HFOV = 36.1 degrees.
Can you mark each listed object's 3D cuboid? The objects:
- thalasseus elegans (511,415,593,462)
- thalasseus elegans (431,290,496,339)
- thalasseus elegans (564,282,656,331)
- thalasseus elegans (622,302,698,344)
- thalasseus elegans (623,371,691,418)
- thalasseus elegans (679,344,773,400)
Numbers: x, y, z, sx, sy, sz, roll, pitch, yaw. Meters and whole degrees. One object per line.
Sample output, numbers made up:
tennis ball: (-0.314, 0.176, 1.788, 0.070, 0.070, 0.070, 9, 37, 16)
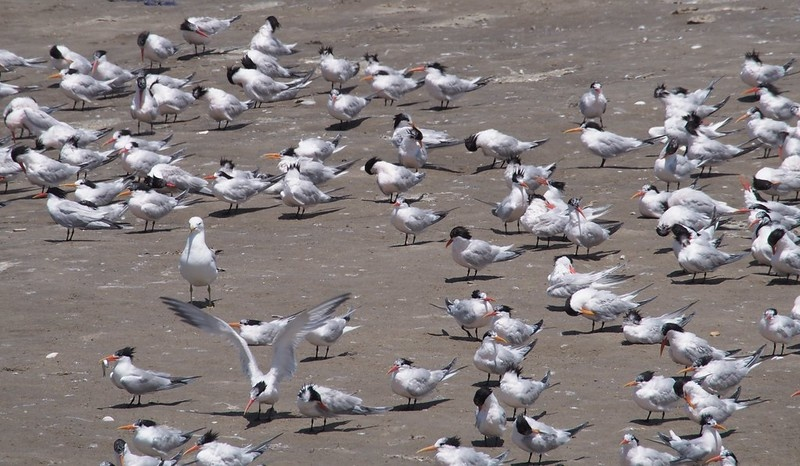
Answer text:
thalasseus elegans: (3.125, 4.387, 26.116, 1.366, 1.093, 0.660, -3, 41, 3)
thalasseus elegans: (1.766, 1.908, 29.369, 0.984, 1.085, 1.853, -14, 14, -33)
thalasseus elegans: (5.172, 1.729, 29.644, 2.522, 0.734, 0.718, -8, 16, -20)
thalasseus elegans: (6.102, 2.044, 29.061, 1.890, 0.735, 0.780, -13, 18, 3)
thalasseus elegans: (5.725, 3.585, 27.318, 1.739, 0.902, 0.955, 4, 0, -40)
thalasseus elegans: (7.326, 3.142, 27.345, 2.571, 0.760, 0.720, -16, 16, -7)
